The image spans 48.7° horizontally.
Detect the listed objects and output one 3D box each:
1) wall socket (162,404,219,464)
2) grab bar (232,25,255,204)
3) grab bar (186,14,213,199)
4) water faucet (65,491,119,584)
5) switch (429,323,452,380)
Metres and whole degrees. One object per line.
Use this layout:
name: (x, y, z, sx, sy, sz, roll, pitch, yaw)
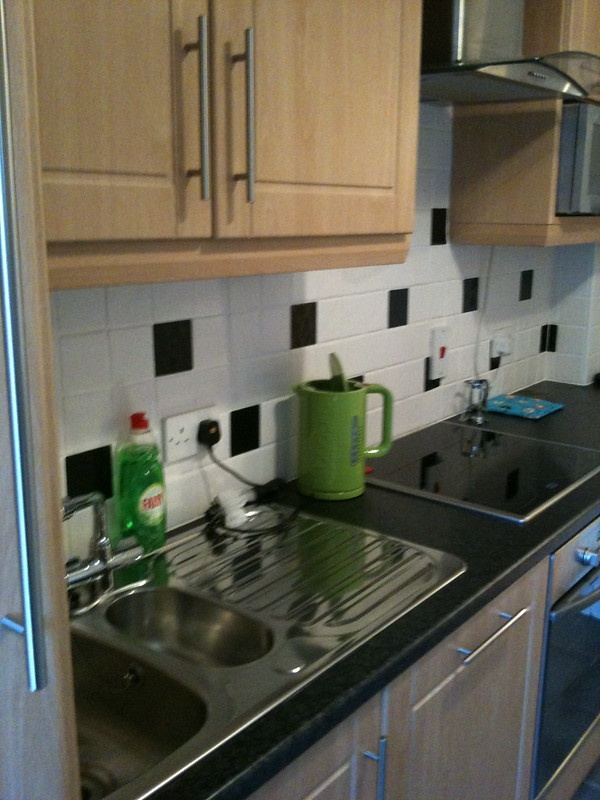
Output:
wall socket: (-0.230, 0.067, 1.365, 0.015, 0.081, 0.111, 11, 19, 31)
grab bar: (-0.076, -0.379, 0.895, 0.037, 0.227, 0.017, 3, 9, 18)
grab bar: (-0.131, -0.366, 0.843, 0.045, 0.219, 0.015, 13, 23, 27)
water faucet: (-0.360, 0.227, 1.130, 0.075, 0.183, 0.218, -5, 13, -18)
switch: (0.445, -0.161, 2.108, 0.043, 0.235, 0.132, 8, 17, 32)
